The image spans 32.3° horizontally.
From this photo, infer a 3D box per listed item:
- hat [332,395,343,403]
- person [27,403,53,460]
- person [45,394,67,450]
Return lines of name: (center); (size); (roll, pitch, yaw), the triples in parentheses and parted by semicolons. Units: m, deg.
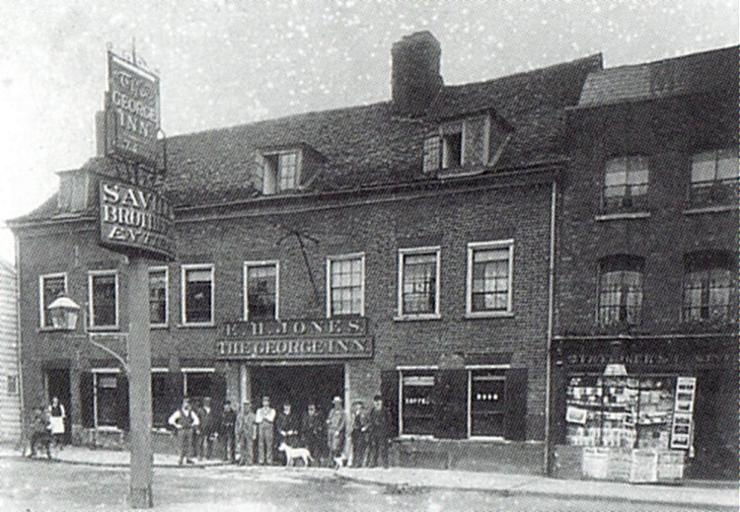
hat: (-0.658, 2.908, 25.882); (0.140, 0.166, 0.118); (-2, -7, 7)
person: (-6.587, 3.526, 25.441); (0.512, 1.080, 0.330); (0, -9, -2)
person: (-6.347, 3.256, 25.737); (0.378, 0.289, 1.048); (-4, -54, -18)
